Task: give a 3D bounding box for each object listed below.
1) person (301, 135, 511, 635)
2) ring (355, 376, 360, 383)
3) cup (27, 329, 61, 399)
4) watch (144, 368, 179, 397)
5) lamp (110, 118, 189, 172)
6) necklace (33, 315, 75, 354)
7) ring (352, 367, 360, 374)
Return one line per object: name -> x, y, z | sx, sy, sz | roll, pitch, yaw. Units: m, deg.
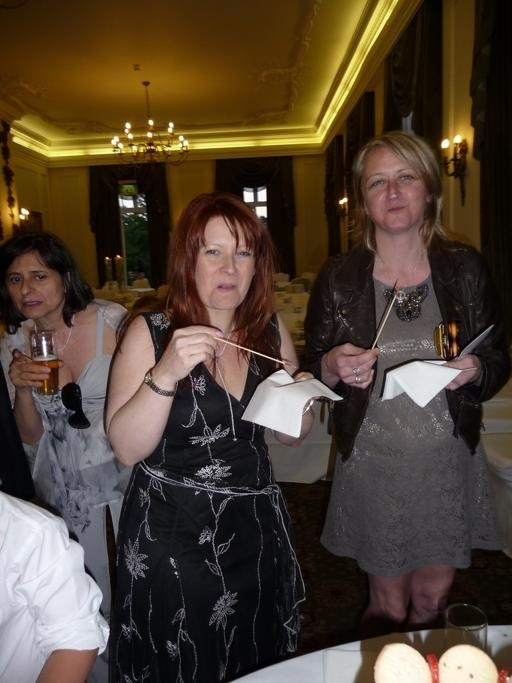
person -> 0.445, 0.200, 1.432 | 0.600, 1.577, 0.423 | -3, 12, 8
ring -> 0.259, 0.096, 1.248 | 0.012, 0.023, 0.013 | -5, 11, 1
cup -> -0.643, 0.064, 1.531 | 0.071, 0.196, 0.163 | -5, 11, 0
watch -> -0.188, 0.080, 0.993 | 0.053, 0.054, 0.018 | 21, 44, 10
lamp -> -2.145, -3.968, 9.817 | 1.183, 0.977, 1.231 | -23, 36, -24
necklace -> -0.683, -0.033, 1.635 | 0.090, 0.148, 0.036 | -2, 2, 3
ring -> 0.254, 0.074, 1.235 | 0.014, 0.014, 0.003 | 0, -1, 40
